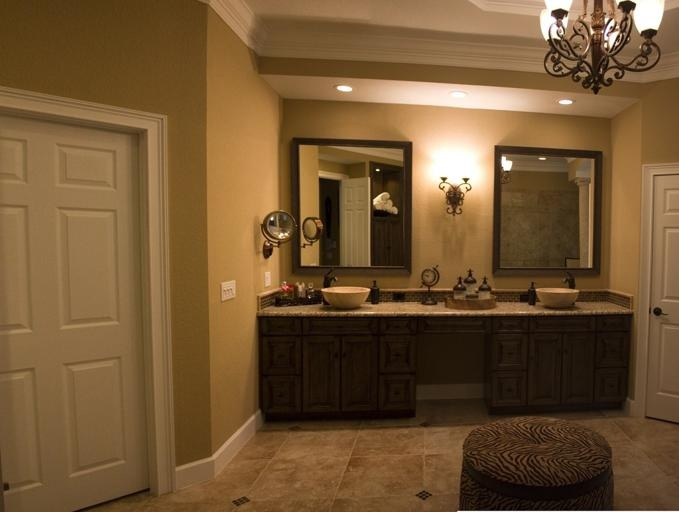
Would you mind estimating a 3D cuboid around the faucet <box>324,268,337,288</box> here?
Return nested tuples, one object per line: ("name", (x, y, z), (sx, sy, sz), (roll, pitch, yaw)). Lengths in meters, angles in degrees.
("faucet", (-0.087, 0.215, 5.378), (0.131, 0.174, 0.119), (0, 9, -4))

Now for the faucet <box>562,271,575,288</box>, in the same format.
("faucet", (2.256, 0.249, 5.480), (0.107, 0.155, 0.247), (4, 9, 24))

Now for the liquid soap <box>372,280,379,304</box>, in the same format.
("liquid soap", (0.344, 0.343, 5.385), (0.092, 0.208, 0.179), (1, 8, 7))

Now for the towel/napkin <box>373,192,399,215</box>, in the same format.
("towel/napkin", (0.447, -0.509, 5.353), (0.198, 0.204, 0.090), (-1, 2, -9))

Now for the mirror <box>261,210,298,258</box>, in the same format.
("mirror", (-0.577, -0.173, 5.070), (0.324, 0.498, 0.267), (-2, 7, -36))

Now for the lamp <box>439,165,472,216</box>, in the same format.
("lamp", (1.136, -0.597, 5.512), (0.327, 0.404, 0.113), (1, 9, 6))

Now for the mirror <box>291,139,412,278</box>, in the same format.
("mirror", (0.063, -0.474, 5.416), (1.309, 1.554, 0.098), (0, 0, -8))

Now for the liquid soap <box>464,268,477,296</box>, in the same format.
("liquid soap", (1.263, 0.239, 5.366), (0.123, 0.222, 0.367), (2, 8, 14))

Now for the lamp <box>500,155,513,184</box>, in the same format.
("lamp", (1.655, -0.852, 5.532), (0.115, 0.267, 0.039), (-1, 9, -10))

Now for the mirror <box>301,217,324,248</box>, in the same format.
("mirror", (-0.261, -0.240, 5.391), (0.249, 0.312, 0.062), (8, 12, 22))

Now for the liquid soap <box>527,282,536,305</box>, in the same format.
("liquid soap", (1.874, 0.366, 5.427), (0.079, 0.188, 0.300), (3, 9, 18))

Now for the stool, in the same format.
("stool", (1.214, 1.284, 3.431), (0.663, 0.430, 0.680), (-1, -9, 6))

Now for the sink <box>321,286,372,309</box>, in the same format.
("sink", (0.055, 0.380, 5.192), (0.413, 0.171, 0.429), (0, 8, -3))

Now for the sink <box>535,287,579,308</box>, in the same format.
("sink", (2.030, 0.400, 5.239), (0.356, 0.180, 0.266), (3, 9, 18))

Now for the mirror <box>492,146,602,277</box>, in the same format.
("mirror", (2.014, -0.445, 5.540), (1.253, 1.572, 0.062), (0, 2, 0))

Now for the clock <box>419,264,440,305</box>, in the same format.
("clock", (0.877, 0.279, 5.415), (0.188, 0.343, 0.284), (1, 9, 8))
